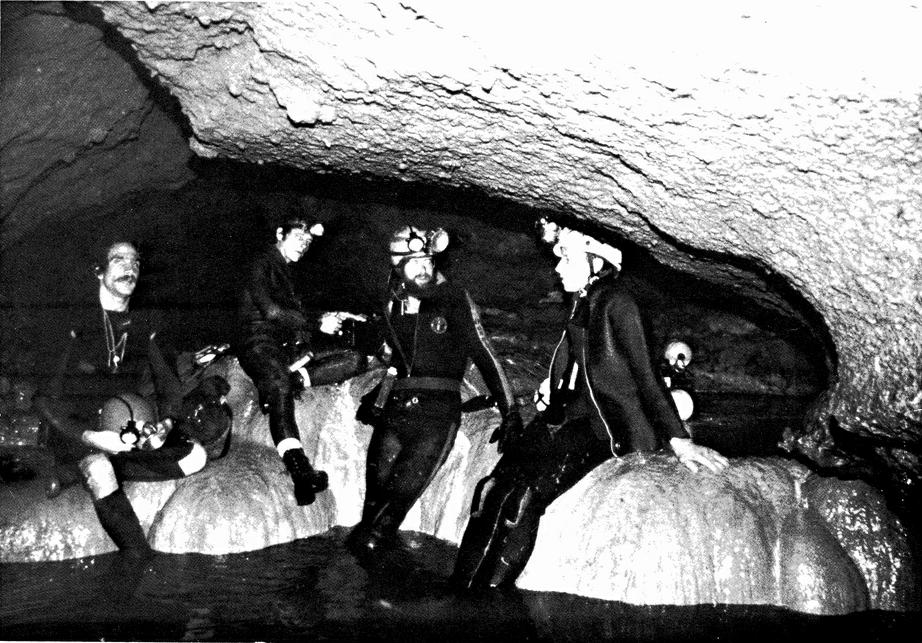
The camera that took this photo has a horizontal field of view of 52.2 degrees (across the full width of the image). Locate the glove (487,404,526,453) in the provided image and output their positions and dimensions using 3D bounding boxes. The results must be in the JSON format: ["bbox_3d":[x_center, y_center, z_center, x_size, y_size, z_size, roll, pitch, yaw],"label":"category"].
[{"bbox_3d":[0.342,0.802,7.048,0.258,0.346,0.093,3,-22,43],"label":"glove"}]

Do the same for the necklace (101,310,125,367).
[{"bbox_3d":[-2.718,0.082,7.411,0.095,0.499,0.378,-15,46,-34],"label":"necklace"}]

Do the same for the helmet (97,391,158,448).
[{"bbox_3d":[-2.469,0.738,7.098,0.352,0.449,0.459,-1,29,4],"label":"helmet"}]

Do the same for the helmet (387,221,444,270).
[{"bbox_3d":[-0.366,-0.617,7.361,0.378,0.264,0.471,-14,7,-29],"label":"helmet"}]

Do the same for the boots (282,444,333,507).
[{"bbox_3d":[-1.208,1.216,7.328,0.311,0.463,0.184,-30,-14,-15],"label":"boots"}]

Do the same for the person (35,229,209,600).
[{"bbox_3d":[-2.637,0.576,7.265,1.199,2.447,0.645,2,-6,22],"label":"person"}]
